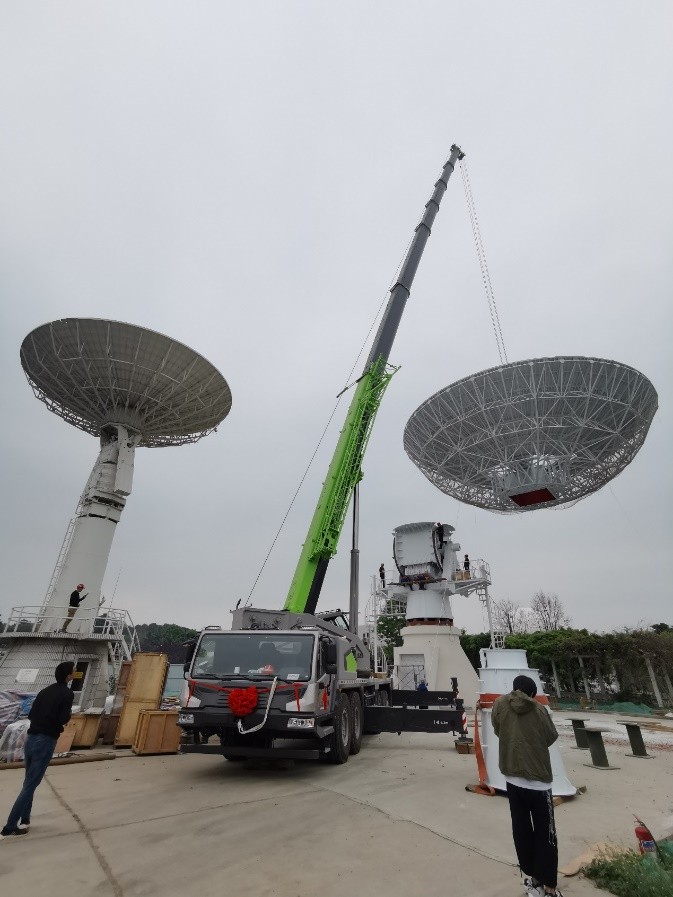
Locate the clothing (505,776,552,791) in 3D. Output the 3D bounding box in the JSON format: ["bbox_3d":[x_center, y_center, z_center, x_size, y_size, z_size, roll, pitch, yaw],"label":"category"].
[{"bbox_3d":[1.581,2.735,4.459,0.166,0.041,0.167,8,-19,4],"label":"clothing"}]

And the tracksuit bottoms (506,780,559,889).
[{"bbox_3d":[1.576,3.059,4.308,0.398,0.681,0.383,-18,-29,37],"label":"tracksuit bottoms"}]

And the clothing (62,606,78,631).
[{"bbox_3d":[-9.195,5.782,18.423,0.343,0.760,0.473,15,-27,-31],"label":"clothing"}]

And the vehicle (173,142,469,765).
[{"bbox_3d":[0.016,-0.565,13.218,3.459,14.350,6.807,-9,-25,21],"label":"vehicle"}]

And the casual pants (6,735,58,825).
[{"bbox_3d":[-3.264,3.456,5.693,0.345,0.882,0.516,10,-25,-22],"label":"casual pants"}]
